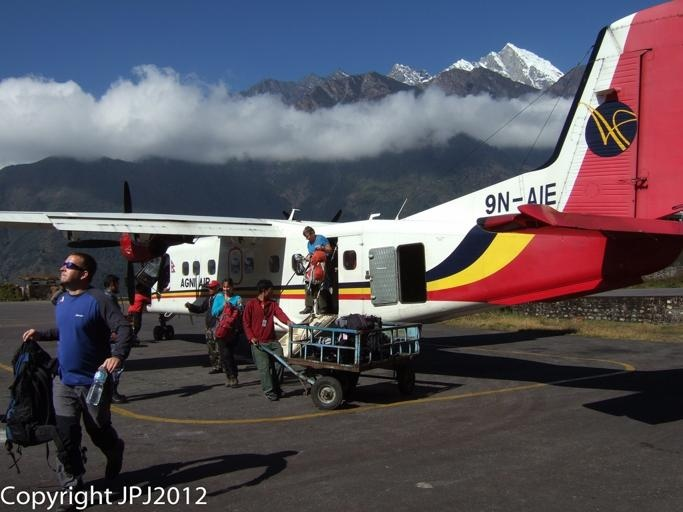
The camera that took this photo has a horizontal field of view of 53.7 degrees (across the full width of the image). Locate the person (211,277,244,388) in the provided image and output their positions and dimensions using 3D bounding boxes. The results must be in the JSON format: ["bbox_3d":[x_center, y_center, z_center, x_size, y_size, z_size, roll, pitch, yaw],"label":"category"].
[{"bbox_3d":[-2.663,1.715,15.825,0.733,2.333,0.630,-2,-4,15],"label":"person"}]

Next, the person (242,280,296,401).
[{"bbox_3d":[-1.676,1.703,14.495,0.909,2.428,1.103,0,0,-41],"label":"person"}]

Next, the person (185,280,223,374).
[{"bbox_3d":[-3.271,1.801,17.161,1.060,2.806,1.019,-2,4,-30],"label":"person"}]

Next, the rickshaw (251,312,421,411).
[{"bbox_3d":[0.073,2.314,14.530,3.126,1.823,2.480,2,6,35],"label":"rickshaw"}]
